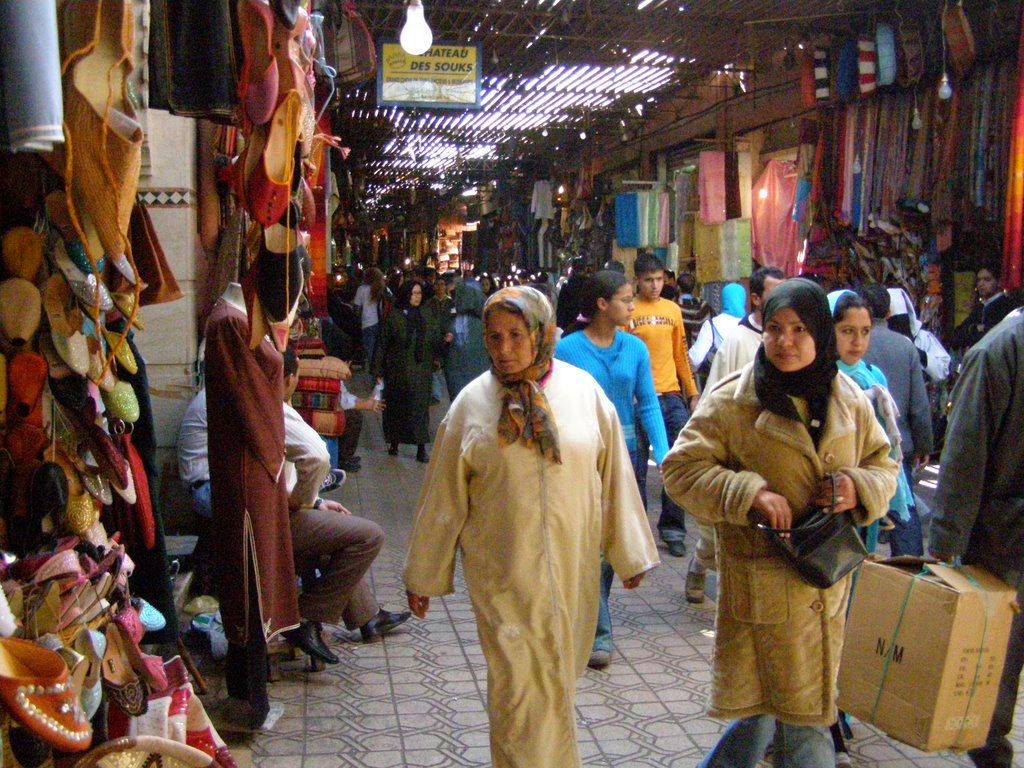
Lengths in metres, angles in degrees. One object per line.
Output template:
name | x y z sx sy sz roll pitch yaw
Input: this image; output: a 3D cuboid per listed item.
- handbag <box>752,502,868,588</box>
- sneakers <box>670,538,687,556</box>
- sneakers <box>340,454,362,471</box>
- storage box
handbag | 1.027 0.580 3.126 0.142 0.199 0.198 23 51 30
sneakers | 1.197 1.184 6.692 0.122 0.145 0.103 3 -9 -3
sneakers | -1.651 0.792 9.226 0.244 0.131 0.353 0 0 -10
storage box | 1.513 0.957 3.340 0.572 0.805 0.438 15 1 31
